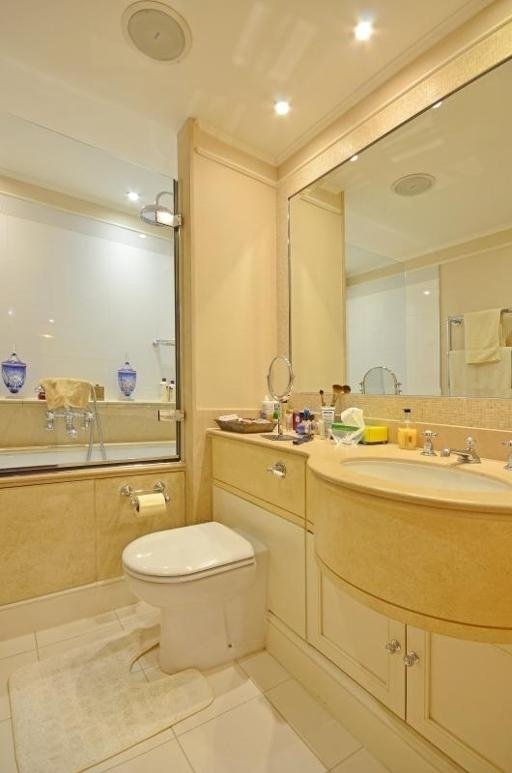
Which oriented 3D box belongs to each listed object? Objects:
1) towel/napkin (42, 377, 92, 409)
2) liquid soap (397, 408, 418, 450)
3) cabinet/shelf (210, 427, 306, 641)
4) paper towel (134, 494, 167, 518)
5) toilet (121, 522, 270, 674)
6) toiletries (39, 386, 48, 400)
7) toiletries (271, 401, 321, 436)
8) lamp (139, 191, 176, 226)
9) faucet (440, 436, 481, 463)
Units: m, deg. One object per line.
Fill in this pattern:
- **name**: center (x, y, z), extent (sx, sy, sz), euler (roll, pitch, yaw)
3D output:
- **towel/napkin**: center (-0.833, 0.030, 2.308), extent (0.219, 0.131, 0.097), euler (-3, 8, -27)
- **liquid soap**: center (0.533, 0.142, 1.816), extent (0.063, 0.125, 0.172), euler (2, 7, 16)
- **cabinet/shelf**: center (0.015, 0.533, 1.811), extent (0.218, 0.620, 0.643), euler (2, -4, -25)
- **paper towel**: center (-0.428, 0.481, 2.107), extent (0.109, 0.105, 0.084), euler (-1, -26, -34)
- **toilet**: center (-0.220, 0.689, 1.800), extent (0.447, 0.443, 0.363), euler (1, -1, -30)
- **toiletries**: center (-0.930, 0.028, 2.254), extent (0.039, 0.065, 0.042), euler (0, 1, -13)
- **toiletries**: center (0.173, 0.154, 2.328), extent (0.081, 0.140, 0.311), euler (0, -2, -17)
- **lamp**: center (-0.444, -0.811, 2.448), extent (0.132, 0.176, 0.181), euler (3, 0, 28)
- **faucet**: center (0.616, 0.187, 1.547), extent (0.156, 0.103, 0.055), euler (3, -3, -37)
